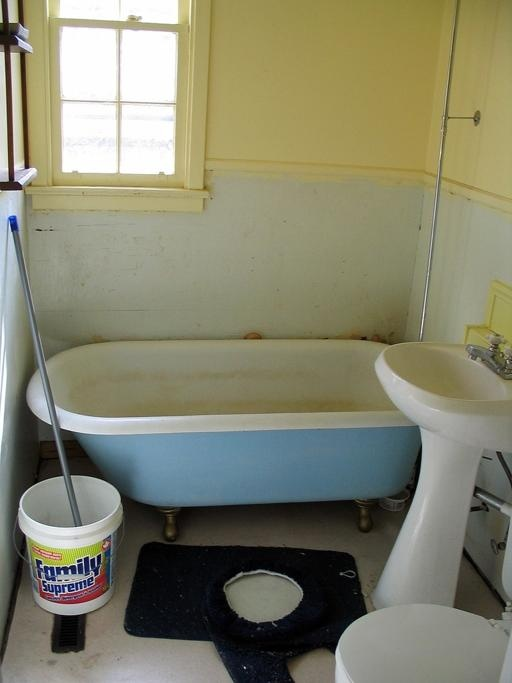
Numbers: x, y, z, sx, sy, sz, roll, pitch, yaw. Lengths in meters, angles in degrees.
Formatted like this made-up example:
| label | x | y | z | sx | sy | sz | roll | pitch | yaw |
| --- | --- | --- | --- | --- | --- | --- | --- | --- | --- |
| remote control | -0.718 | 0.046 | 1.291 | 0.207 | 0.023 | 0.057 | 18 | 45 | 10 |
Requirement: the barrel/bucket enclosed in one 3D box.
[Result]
| label | x | y | z | sx | sy | sz | roll | pitch | yaw |
| --- | --- | --- | --- | --- | --- | --- | --- | --- | --- |
| barrel/bucket | -0.524 | 0.590 | 1.733 | 0.331 | 0.401 | 0.368 | 4 | 18 | -8 |
